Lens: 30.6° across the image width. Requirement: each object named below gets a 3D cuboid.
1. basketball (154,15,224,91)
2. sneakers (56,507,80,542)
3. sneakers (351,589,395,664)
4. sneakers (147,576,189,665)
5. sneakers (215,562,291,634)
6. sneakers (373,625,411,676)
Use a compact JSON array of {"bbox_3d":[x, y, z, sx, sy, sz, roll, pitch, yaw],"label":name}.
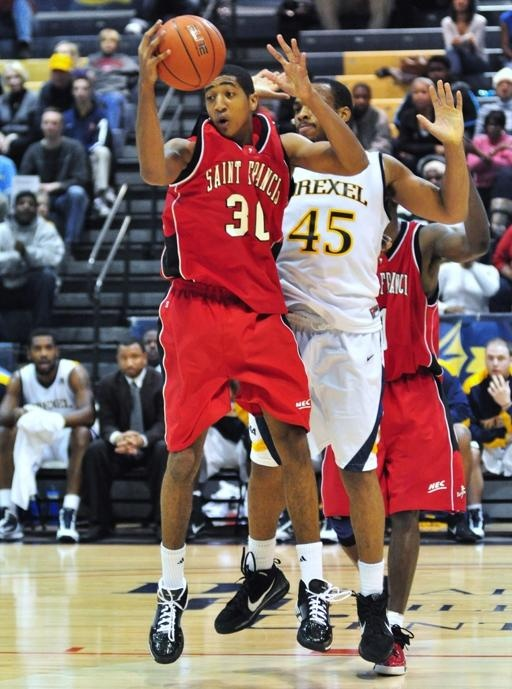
[{"bbox_3d":[-0.185,-0.815,2.670,0.219,0.230,0.209,-7,9,-4],"label":"basketball"},{"bbox_3d":[-1.216,1.177,6.040,0.104,0.186,0.280,1,7,-5],"label":"sneakers"},{"bbox_3d":[0.349,0.838,2.801,0.086,0.099,0.240,-5,22,3],"label":"sneakers"},{"bbox_3d":[-0.254,0.818,2.795,0.091,0.101,0.259,3,33,0],"label":"sneakers"},{"bbox_3d":[-0.017,0.871,3.185,0.153,0.251,0.293,0,3,28],"label":"sneakers"},{"bbox_3d":[0.416,0.936,2.837,0.079,0.091,0.156,2,-15,10],"label":"sneakers"}]
